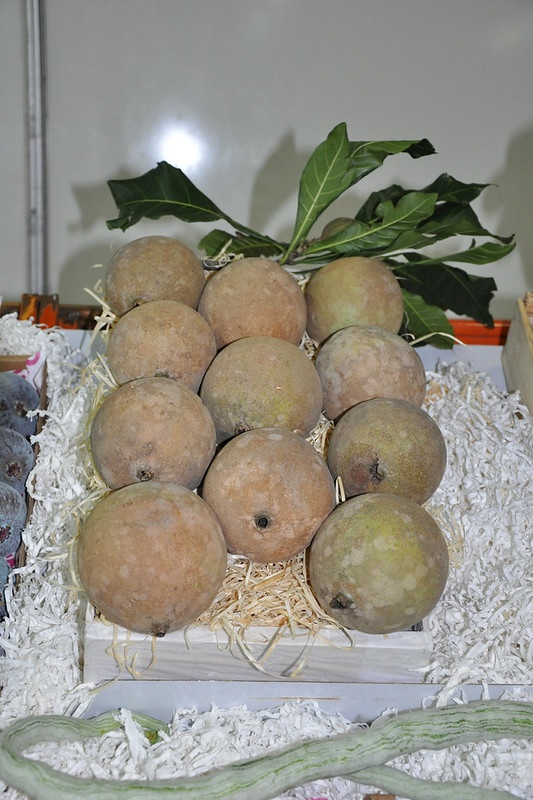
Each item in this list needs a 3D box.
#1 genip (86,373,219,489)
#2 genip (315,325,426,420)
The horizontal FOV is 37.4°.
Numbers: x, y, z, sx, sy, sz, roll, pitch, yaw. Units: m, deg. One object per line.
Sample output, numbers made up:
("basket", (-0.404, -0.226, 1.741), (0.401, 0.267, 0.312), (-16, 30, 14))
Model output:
("genip", (-0.178, 0.057, 1.243), (0.215, 0.184, 0.188), (8, -55, -6))
("genip", (0.169, -0.043, 1.333), (0.109, 0.109, 0.134), (-36, 33, -29))
